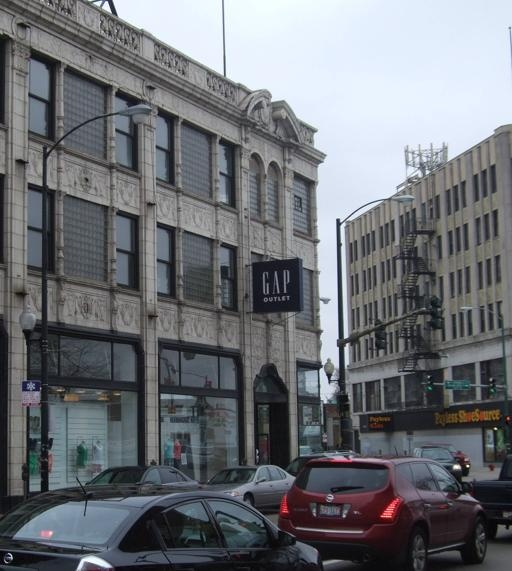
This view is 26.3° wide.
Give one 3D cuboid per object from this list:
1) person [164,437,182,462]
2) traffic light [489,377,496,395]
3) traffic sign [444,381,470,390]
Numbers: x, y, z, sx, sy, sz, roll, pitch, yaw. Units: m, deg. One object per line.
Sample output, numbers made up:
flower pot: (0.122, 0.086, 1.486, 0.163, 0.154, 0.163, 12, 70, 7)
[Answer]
person: (-2.383, 4.795, 31.653, 0.196, 0.766, 0.982, -6, -13, 18)
traffic light: (11.585, 4.978, 53.533, 0.309, 0.927, 2.160, -4, -13, 10)
traffic sign: (11.881, 5.908, 64.486, 1.129, 0.464, 0.198, -1, 6, -12)
